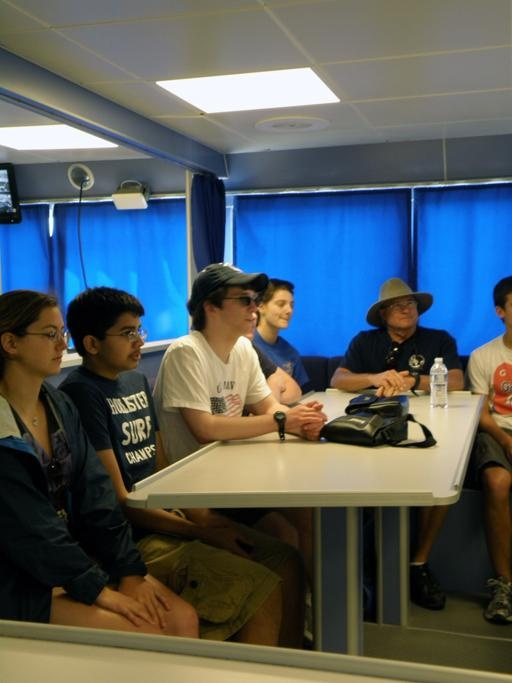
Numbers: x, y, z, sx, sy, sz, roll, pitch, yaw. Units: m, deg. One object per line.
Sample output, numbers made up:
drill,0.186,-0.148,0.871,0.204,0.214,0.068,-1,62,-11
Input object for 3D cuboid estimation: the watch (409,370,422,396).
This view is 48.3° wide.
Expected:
watch,0.734,0.188,2.586,0.035,0.087,0.068,2,-4,-10

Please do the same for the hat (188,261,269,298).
hat,-0.091,-0.196,1.851,0.201,0.099,0.123,-20,5,9

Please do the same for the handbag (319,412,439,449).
handbag,0.308,0.236,1.509,0.179,0.060,0.128,2,-1,22

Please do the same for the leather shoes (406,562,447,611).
leather shoes,0.624,0.926,2.148,0.075,0.091,0.212,-3,-9,-4

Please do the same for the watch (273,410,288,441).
watch,0.058,0.235,1.575,0.045,0.067,0.068,3,28,-2

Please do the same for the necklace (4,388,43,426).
necklace,-0.482,0.130,1.178,0.062,0.078,0.030,-5,3,-24

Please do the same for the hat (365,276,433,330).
hat,0.730,-0.212,3.027,0.274,0.130,0.338,-11,-22,-9

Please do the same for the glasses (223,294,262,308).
glasses,-0.055,-0.136,1.806,0.076,0.021,0.071,0,-2,14
